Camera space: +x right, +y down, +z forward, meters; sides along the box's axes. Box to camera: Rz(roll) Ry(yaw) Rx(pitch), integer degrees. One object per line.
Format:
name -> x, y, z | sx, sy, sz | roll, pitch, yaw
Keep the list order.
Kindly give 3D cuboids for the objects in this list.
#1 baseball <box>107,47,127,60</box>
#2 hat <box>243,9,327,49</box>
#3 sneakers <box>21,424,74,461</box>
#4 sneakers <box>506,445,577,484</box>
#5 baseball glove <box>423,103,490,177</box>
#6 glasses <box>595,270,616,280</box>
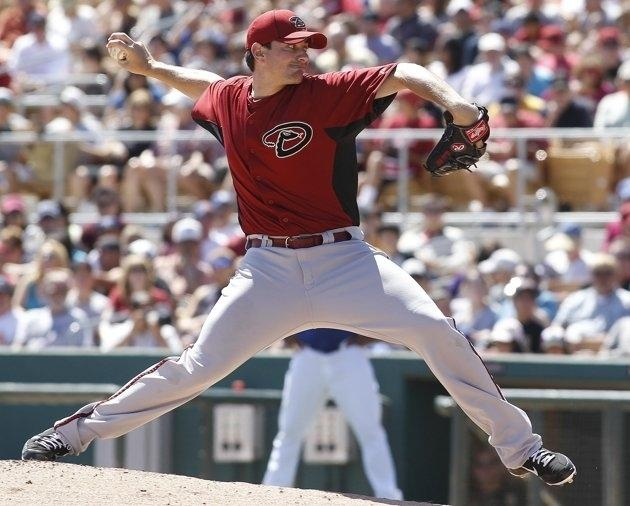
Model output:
baseball -> -1.169, -1.180, 8.002 | 0.027, 0.080, 0.080 | -59, 10, -26
hat -> -0.171, -1.237, 7.521 | 0.384, 0.162, 0.240 | -1, 8, 17
sneakers -> -1.479, 1.085, 7.647 | 0.365, 0.113, 0.147 | -21, 17, -30
sneakers -> 1.215, 1.185, 7.619 | 0.442, 0.147, 0.211 | -2, -33, 31
baseball glove -> 0.787, -0.601, 7.442 | 0.425, 0.193, 0.308 | -29, -24, 11
glasses -> 2.138, 0.144, 10.089 | 0.150, 0.067, 0.036 | -1, 10, 15
